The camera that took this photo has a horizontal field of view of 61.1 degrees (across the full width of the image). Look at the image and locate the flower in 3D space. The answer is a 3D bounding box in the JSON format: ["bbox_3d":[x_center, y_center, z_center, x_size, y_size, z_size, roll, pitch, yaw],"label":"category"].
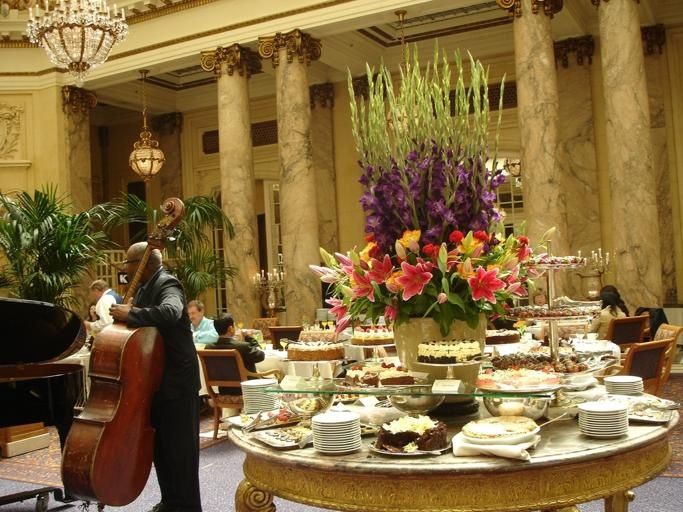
[{"bbox_3d":[0.402,-0.124,2.736,0.987,1.307,1.102,-1,7,31],"label":"flower"}]

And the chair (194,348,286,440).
[{"bbox_3d":[-1.083,1.493,6.456,0.731,0.915,0.793,-5,-5,20],"label":"chair"}]

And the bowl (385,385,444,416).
[{"bbox_3d":[0.290,0.567,2.258,0.184,0.113,0.189,-1,-3,0],"label":"bowl"}]

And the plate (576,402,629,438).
[{"bbox_3d":[0.947,0.586,2.126,0.126,0.084,0.138,0,-5,1],"label":"plate"}]

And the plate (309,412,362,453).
[{"bbox_3d":[-0.012,0.640,2.142,0.141,0.083,0.141,-1,-8,0],"label":"plate"}]
